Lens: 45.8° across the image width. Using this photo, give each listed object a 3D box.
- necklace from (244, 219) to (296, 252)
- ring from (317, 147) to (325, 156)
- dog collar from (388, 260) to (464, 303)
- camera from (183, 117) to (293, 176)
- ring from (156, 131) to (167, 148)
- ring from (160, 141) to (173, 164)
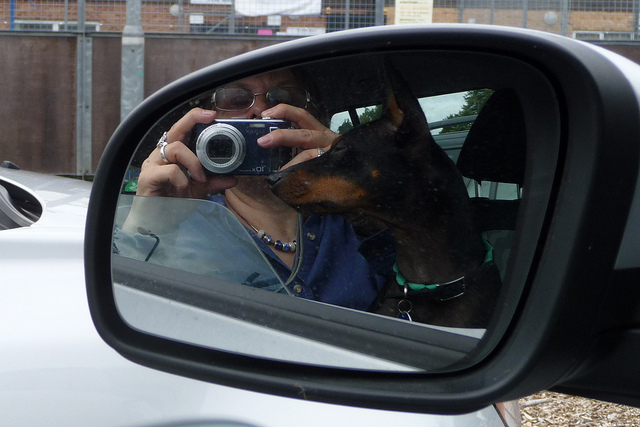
[{"bbox_3d":[-0.148,0.081,2.486,0.114,0.023,0.064,43,66,13],"label":"necklace"},{"bbox_3d":[0.000,-0.186,2.285,0.006,0.017,0.025,14,57,-49],"label":"ring"},{"bbox_3d":[0.306,0.241,2.300,0.163,0.180,0.049,-11,47,17],"label":"dog collar"},{"bbox_3d":[-0.255,-0.198,2.337,0.338,0.177,0.096,1,27,-5],"label":"camera"},{"bbox_3d":[-0.487,-0.225,2.315,0.010,0.042,0.022,14,10,-35],"label":"ring"},{"bbox_3d":[-0.481,-0.184,2.319,0.013,0.051,0.055,17,41,-48],"label":"ring"}]
